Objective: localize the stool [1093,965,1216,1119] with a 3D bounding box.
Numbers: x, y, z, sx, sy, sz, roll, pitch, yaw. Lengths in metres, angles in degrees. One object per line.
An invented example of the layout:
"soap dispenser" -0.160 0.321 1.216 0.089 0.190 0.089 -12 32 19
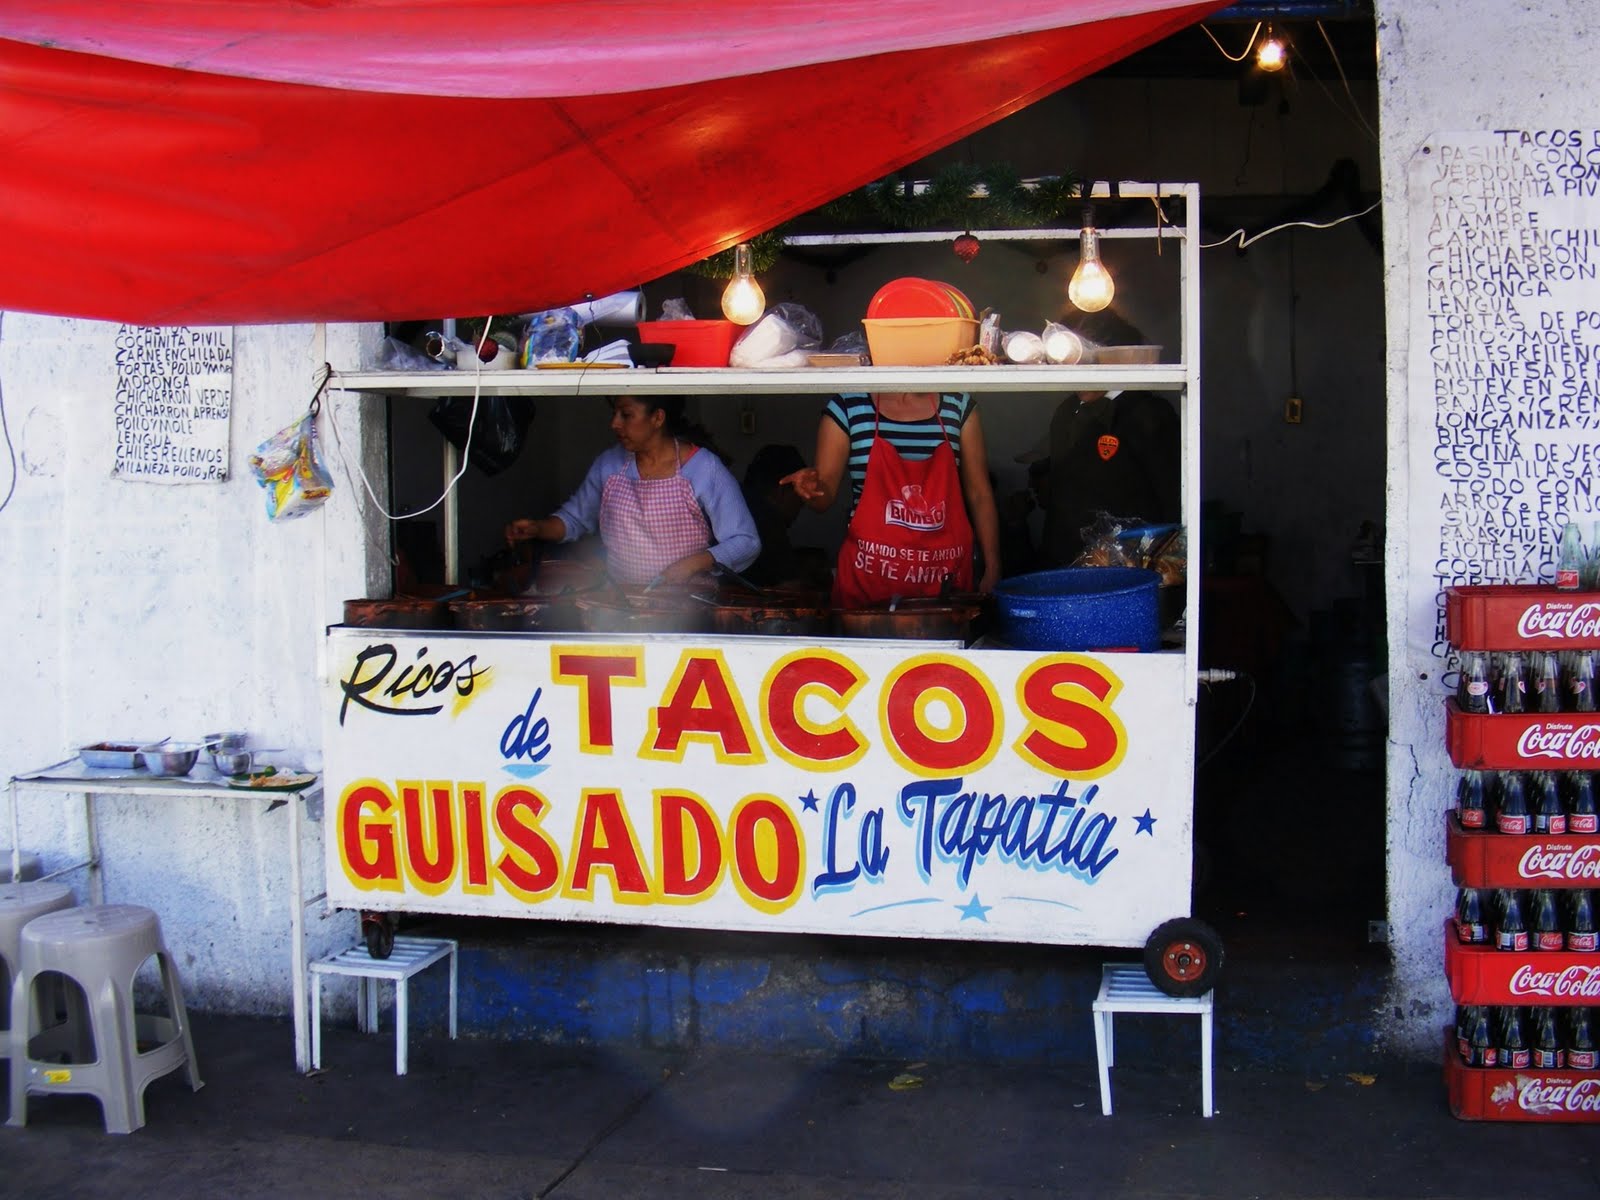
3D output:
"stool" 1.215 1.486 6.560 0.407 0.474 0.538 -1 1 12

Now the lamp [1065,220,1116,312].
"lamp" 0.988 -1.124 6.524 0.134 0.267 0.373 -1 1 10

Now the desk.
"desk" -2.291 1.159 7.018 0.999 0.947 0.386 1 2 20

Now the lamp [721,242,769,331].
"lamp" -0.197 -1.101 6.607 0.168 0.317 0.173 -1 -3 33

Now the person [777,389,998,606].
"person" 0.372 -0.361 7.251 0.852 0.899 0.453 -8 17 -20

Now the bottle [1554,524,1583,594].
"bottle" 2.546 -0.149 6.345 0.083 0.219 0.197 -1 0 22

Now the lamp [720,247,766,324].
"lamp" -0.199 -1.100 6.670 0.145 0.250 0.288 -1 1 -3

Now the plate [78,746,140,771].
"plate" -2.544 0.579 7.075 0.129 0.049 0.133 2 7 -4

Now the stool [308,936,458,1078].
"stool" -1.525 1.432 6.947 0.439 0.454 0.453 0 0 17

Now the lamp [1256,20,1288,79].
"lamp" 1.850 -2.168 7.530 0.122 0.190 0.440 -1 1 14

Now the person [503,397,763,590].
"person" -0.649 -0.449 7.500 0.930 0.790 0.462 -1 8 18

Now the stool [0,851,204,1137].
"stool" -2.435 1.431 6.907 0.686 0.878 0.703 -1 0 3
